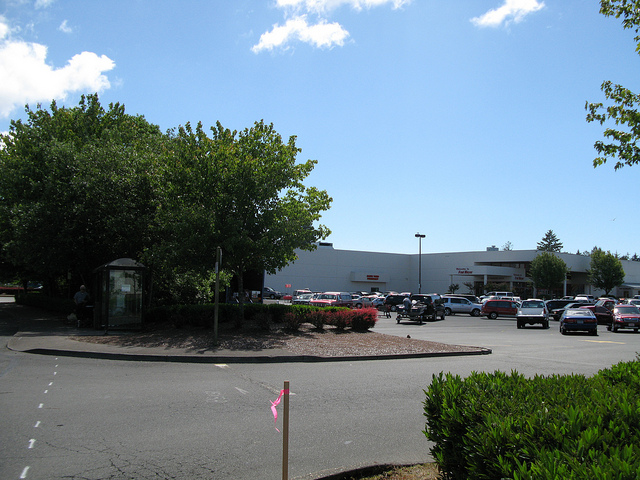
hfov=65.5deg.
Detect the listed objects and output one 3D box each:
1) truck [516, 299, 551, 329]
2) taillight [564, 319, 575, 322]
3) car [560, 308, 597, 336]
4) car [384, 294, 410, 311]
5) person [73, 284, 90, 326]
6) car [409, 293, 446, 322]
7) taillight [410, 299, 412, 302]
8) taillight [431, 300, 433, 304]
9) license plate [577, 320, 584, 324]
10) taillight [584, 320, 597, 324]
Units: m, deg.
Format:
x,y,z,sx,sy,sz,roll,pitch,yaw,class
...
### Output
x,y,z,sx,sy,sz,roll,pitch,yaw,class
13.322,4.540,31.119,1.197,1.235,2.931,-2,-8,18,truck
13.281,4.306,26.449,0.452,0.140,0.123,-3,-7,29,taillight
13.935,4.448,27.221,1.043,0.863,2.034,0,0,14,car
7.311,6.018,48.972,2.690,1.437,1.598,-4,3,-33,car
-11.132,3.061,23.153,0.545,1.861,1.429,3,-7,-27,person
8.508,5.247,38.280,1.840,1.591,3.475,-1,0,31,car
6.868,4.634,37.721,0.173,0.176,0.042,-8,-19,38,taillight
8.392,4.709,37.520,0.267,0.294,0.099,-4,-3,-43,taillight
13.790,4.330,26.289,0.234,0.178,0.136,2,-9,1,license plate
14.314,4.348,26.305,0.718,0.200,0.126,3,-6,-17,taillight
